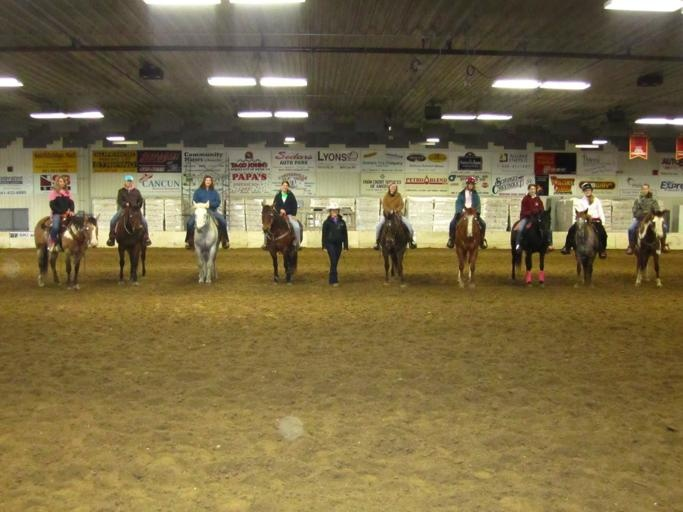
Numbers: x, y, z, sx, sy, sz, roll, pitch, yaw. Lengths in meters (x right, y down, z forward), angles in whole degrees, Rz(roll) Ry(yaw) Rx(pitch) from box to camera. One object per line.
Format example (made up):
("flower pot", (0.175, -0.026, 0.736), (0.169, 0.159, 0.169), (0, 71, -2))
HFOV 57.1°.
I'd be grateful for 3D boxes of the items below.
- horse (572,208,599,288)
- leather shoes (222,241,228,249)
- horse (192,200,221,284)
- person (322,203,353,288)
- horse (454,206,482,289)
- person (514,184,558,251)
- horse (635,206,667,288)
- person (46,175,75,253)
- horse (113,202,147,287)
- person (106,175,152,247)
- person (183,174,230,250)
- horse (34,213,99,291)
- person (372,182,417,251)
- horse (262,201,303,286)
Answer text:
("horse", (5.610, -0.101, 14.399), (0.534, 1.482, 2.231), (0, -8, 24))
("leather shoes", (-2.794, -0.291, 15.125), (0.161, 0.146, 0.261), (-2, -7, -4))
("horse", (-3.159, -0.271, 14.769), (0.617, 2.034, 1.212), (-4, 14, -13))
("person", (-0.140, -0.234, 14.491), (0.542, 1.967, 1.198), (-1, 14, -1))
("horse", (2.888, -0.149, 14.468), (0.579, 1.716, 2.464), (2, -1, 9))
("person", (4.317, -0.867, 14.272), (0.558, 1.565, 1.212), (2, 14, 13))
("horse", (7.361, -0.217, 14.956), (0.649, 2.048, 2.384), (6, 15, 26))
("person", (-6.260, -0.927, 13.963), (0.615, 1.656, 0.875), (-7, 15, -24))
("horse", (-4.980, -0.268, 14.961), (0.651, 1.911, 2.697), (5, -10, -18))
("person", (-5.195, -1.116, 15.145), (0.862, 1.583, 1.865), (-4, -1, -9))
("person", (-3.282, -1.069, 15.088), (0.989, 1.585, 1.908), (2, 5, -6))
("horse", (-6.139, -0.152, 14.078), (2.351, 1.612, 0.601), (4, 4, 38))
("person", (1.227, -0.966, 14.676), (0.869, 1.459, 1.696), (-3, -7, 12))
("horse", (-1.410, -0.296, 14.859), (0.621, 1.807, 2.486), (-4, -2, 9))
